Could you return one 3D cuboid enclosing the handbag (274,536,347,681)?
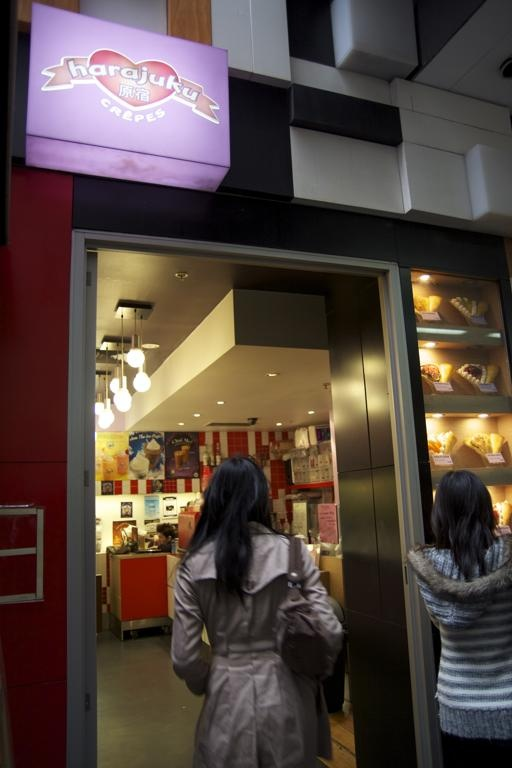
[{"bbox_3d":[0.152,0.620,1.449,0.143,0.399,0.268,-7,-14,25],"label":"handbag"}]
